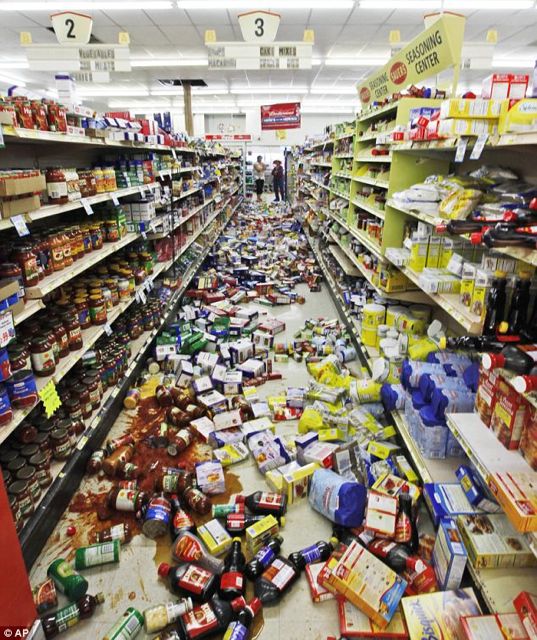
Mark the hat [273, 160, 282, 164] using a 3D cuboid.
[{"bbox_3d":[0.312,-5.966,16.390,0.241,0.196,0.362,2,21,2],"label":"hat"}]
